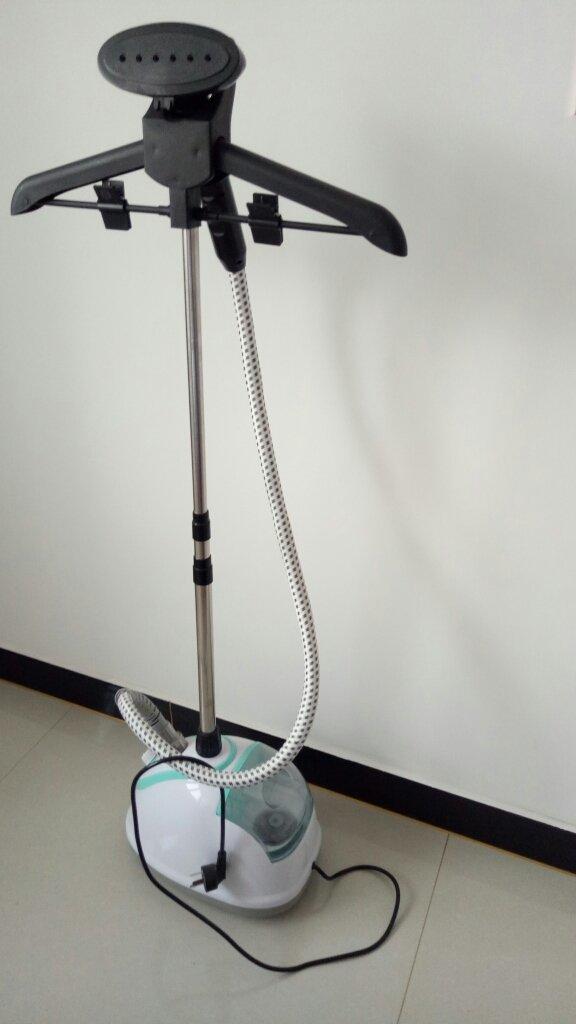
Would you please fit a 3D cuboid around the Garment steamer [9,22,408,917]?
[{"bbox_3d":[-0.081,0.018,1.232,0.467,1.164,0.249,10,26,18],"label":"Garment steamer"}]
